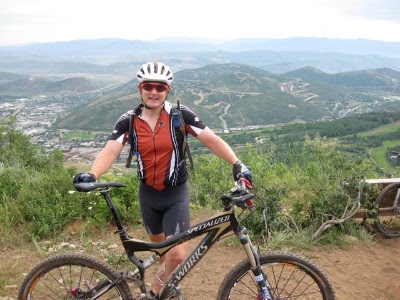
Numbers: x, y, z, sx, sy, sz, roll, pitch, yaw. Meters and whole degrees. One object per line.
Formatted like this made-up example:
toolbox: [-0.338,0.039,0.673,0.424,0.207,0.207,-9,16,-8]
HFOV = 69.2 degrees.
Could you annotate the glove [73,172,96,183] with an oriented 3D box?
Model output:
glove: [-1.561,0.372,3.904,0.152,0.090,0.198,-1,0,-5]

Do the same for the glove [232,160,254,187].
glove: [0.597,0.320,4.126,0.332,0.155,0.292,41,4,34]
